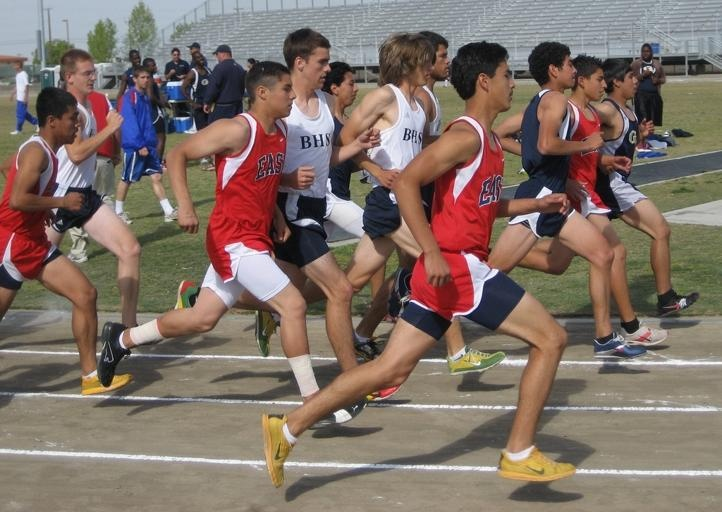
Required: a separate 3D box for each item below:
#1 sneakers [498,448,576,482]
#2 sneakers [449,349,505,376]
[{"bbox_3d":[1.106,1.365,6.224,0.581,0.198,0.191,0,0,3],"label":"sneakers"},{"bbox_3d":[0.927,0.867,7.891,0.581,0.190,0.180,-10,-5,2],"label":"sneakers"}]
